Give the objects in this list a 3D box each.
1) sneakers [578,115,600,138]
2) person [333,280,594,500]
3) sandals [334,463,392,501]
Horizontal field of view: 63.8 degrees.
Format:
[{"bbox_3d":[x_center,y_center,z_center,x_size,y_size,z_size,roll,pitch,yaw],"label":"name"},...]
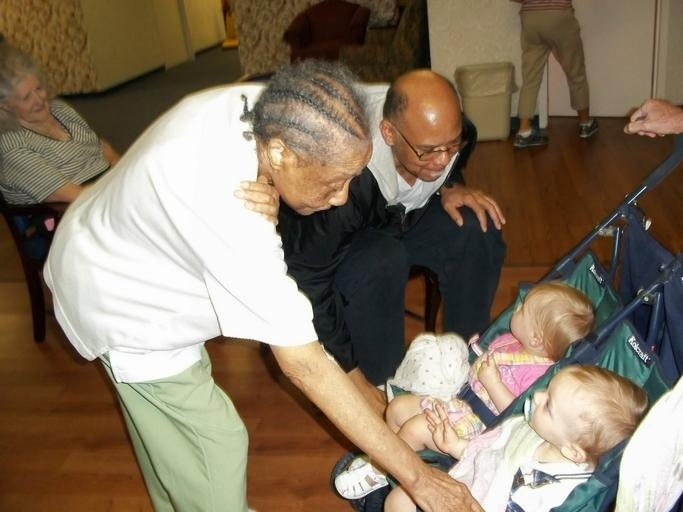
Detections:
[{"bbox_3d":[2.242,-1.180,5.027,0.103,0.142,0.296,10,42,29],"label":"sneakers"},{"bbox_3d":[0.446,0.507,2.412,1.204,0.888,0.569,-22,37,7],"label":"person"},{"bbox_3d":[0.080,0.886,2.160,0.205,0.131,0.091,0,-7,-4],"label":"sandals"}]
